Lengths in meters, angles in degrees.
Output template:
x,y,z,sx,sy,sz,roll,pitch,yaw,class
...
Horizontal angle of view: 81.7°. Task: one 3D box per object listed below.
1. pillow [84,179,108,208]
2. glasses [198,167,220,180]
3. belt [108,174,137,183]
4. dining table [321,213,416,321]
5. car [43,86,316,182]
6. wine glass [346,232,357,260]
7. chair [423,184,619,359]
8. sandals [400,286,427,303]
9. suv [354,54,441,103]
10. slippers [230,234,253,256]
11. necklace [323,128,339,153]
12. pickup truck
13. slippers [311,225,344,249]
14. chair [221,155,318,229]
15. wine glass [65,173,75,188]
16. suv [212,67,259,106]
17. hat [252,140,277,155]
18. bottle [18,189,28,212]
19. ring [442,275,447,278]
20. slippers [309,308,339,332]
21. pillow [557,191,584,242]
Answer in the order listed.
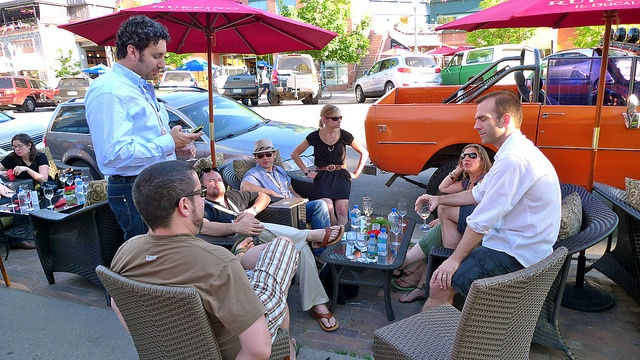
x,y,z,sx,sy,sz,roll,pitch,yaw,class
-3.038,0.171,5.025,0.392,0.360,0.112,5,11,-11,pillow
-1.617,-0.056,5.273,0.294,0.113,0.230,-8,3,35,glasses
-2.248,-0.016,4.187,0.147,0.052,0.174,-3,7,-42,belt
0.630,1.079,4.760,1.059,0.638,1.586,1,10,12,dining table
-3.094,-1.108,8.019,5.380,1.872,2.346,-2,17,9,car
0.384,0.808,4.593,0.120,0.277,0.197,-1,15,4,wine glass
2.532,1.027,4.778,1.984,1.360,1.921,2,10,36,chair
1.224,1.500,4.853,0.466,0.149,0.180,-1,10,-2,sandals
3.903,-5.189,20.123,3.213,2.519,6.353,-11,19,-26,suv
-0.866,0.713,4.140,0.168,0.086,0.216,14,55,40,slippers
0.197,-0.650,6.242,0.237,0.381,0.405,2,1,-28,necklace
3.221,-1.125,6.664,4.512,1.861,2.330,-1,18,14,pickup truck
0.126,0.776,4.890,0.420,0.216,0.109,-22,-25,17,slippers
-0.904,0.189,5.984,1.355,1.403,1.060,2,22,20,chair
-4.404,-0.008,6.466,0.146,0.230,0.330,-12,17,-34,wine glass
-5.021,-5.496,23.000,2.997,2.015,5.340,0,15,-4,suv
-0.887,-0.517,5.910,0.433,0.181,0.522,-3,-5,-5,hat
-4.478,0.298,5.579,0.133,0.309,0.330,-14,19,-38,bottle
1.358,1.042,4.011,0.041,0.035,0.009,-2,3,6,ring
0.061,1.703,4.570,0.198,0.189,0.368,-11,16,-33,slippers
2.829,0.437,4.179,0.374,0.198,0.580,-21,34,50,pillow
